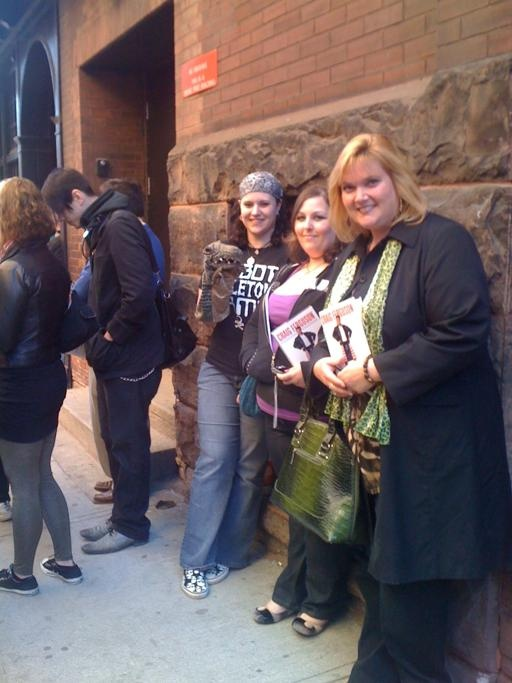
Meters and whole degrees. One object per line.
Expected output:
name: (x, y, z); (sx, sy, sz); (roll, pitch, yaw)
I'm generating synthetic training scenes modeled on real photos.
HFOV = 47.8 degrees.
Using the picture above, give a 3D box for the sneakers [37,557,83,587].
sneakers: (-0.983, 1.126, 2.919); (0.249, 0.100, 0.093); (13, 7, 33)

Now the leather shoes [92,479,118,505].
leather shoes: (-1.056, 1.044, 3.986); (0.153, 0.092, 0.251); (2, 14, -23)

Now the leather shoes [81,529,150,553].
leather shoes: (-0.801, 1.133, 3.284); (0.359, 0.157, 0.123); (5, -15, -16)

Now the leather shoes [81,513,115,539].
leather shoes: (-0.897, 1.070, 3.352); (0.250, 0.103, 0.084); (4, 13, -29)

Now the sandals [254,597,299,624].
sandals: (0.098, 1.170, 2.531); (0.200, 0.082, 0.076); (8, -11, -29)

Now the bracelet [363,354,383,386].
bracelet: (0.318, 0.084, 1.612); (0.054, 0.071, 0.026); (-1, 6, 7)

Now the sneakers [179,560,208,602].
sneakers: (-0.288, 1.159, 2.786); (0.137, 0.102, 0.157); (-1, 3, -18)

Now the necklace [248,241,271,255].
necklace: (0.008, -0.440, 2.773); (0.062, 0.031, 0.068); (-3, 25, 16)
